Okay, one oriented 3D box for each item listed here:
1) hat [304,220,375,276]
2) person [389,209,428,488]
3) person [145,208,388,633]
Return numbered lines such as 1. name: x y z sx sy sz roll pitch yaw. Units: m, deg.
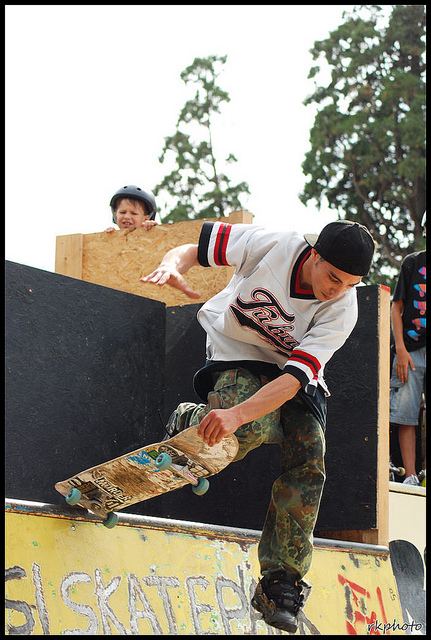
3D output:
1. hat: 0.556 -0.361 3.564 0.250 0.180 0.353 0 33 -22
2. person: 1.453 0.305 6.237 0.264 1.693 0.383 2 -2 10
3. person: 0.205 0.421 3.665 0.927 1.757 0.732 2 -2 8
